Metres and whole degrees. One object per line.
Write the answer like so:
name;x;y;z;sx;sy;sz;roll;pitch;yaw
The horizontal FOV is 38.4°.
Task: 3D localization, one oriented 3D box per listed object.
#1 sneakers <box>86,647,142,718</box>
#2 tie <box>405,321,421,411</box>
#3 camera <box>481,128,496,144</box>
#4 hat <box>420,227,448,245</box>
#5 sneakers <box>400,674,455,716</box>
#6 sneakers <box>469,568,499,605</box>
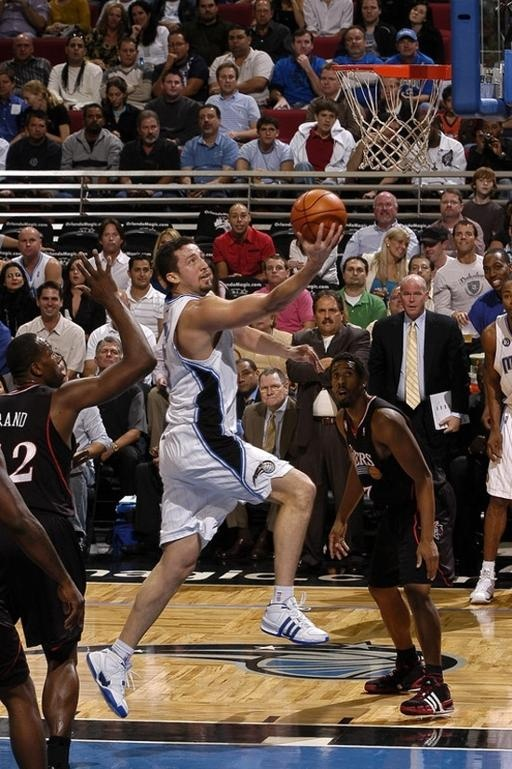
sneakers;-0.489;1.006;2.455;0.141;0.232;0.183;0;-6;-12
tie;1.114;-0.129;5.198;0.132;0.628;0.037;0;-1;-36
camera;2.696;-2.909;8.556;0.225;0.131;0.292;3;9;4
hat;1.750;-1.451;7.140;0.189;0.125;0.281;6;0;43
sneakers;0.630;1.128;2.689;0.098;0.140;0.253;-6;-13;42
sneakers;1.440;1.281;4.601;0.105;0.130;0.300;4;-2;16
